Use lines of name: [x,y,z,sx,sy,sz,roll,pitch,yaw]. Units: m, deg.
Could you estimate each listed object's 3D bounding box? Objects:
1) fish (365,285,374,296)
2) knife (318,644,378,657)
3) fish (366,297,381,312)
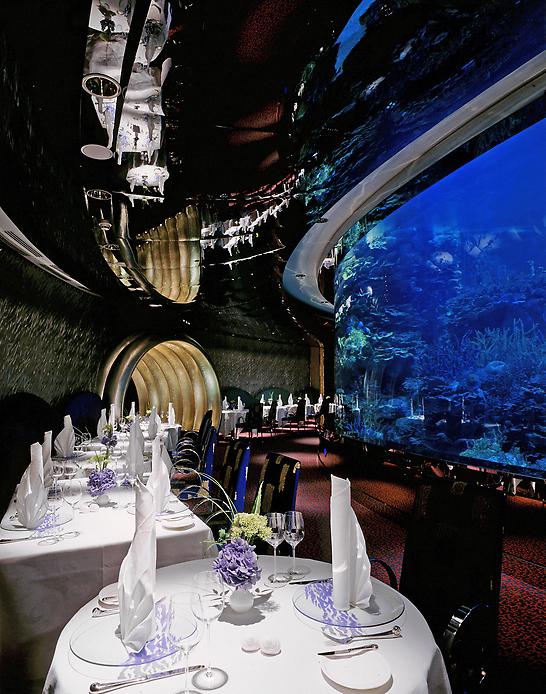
fish: [1.851,-1.080,8.375,0.144,0.154,0.265,2,-10,9]
knife: [0.182,0.731,1.049,0.101,0.012,0.015,-4,4,-10]
fish: [1.926,-0.794,8.342,0.067,0.241,0.219,-1,-3,-42]
